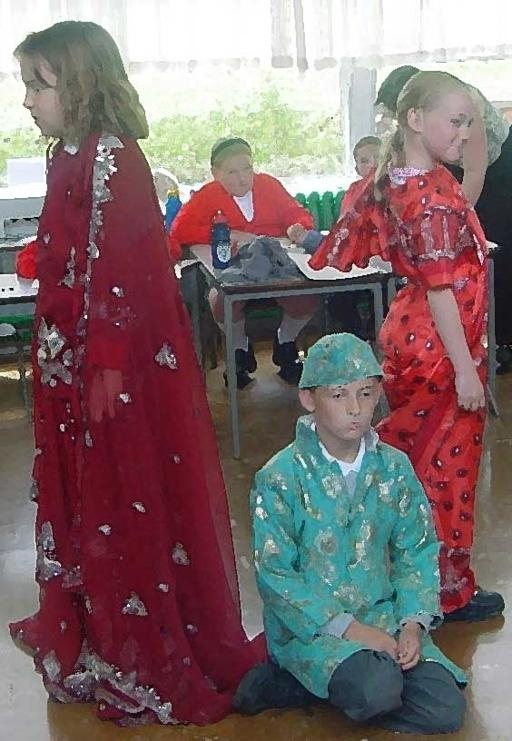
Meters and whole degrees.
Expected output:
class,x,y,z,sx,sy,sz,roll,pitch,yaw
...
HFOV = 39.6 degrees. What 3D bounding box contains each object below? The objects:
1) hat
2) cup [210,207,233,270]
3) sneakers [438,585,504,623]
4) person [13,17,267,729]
class,x,y,z,sx,sy,sz,roll,pitch,yaw
hat,0.161,-0.019,1.380,0.160,0.105,0.150,-5,12,4
cup,-0.146,-0.541,2.985,0.089,0.232,0.088,-1,14,0
sneakers,0.522,0.567,1.751,0.128,0.044,0.072,-11,23,-11
person,-0.302,0.041,1.364,0.497,1.334,0.294,-7,14,2
